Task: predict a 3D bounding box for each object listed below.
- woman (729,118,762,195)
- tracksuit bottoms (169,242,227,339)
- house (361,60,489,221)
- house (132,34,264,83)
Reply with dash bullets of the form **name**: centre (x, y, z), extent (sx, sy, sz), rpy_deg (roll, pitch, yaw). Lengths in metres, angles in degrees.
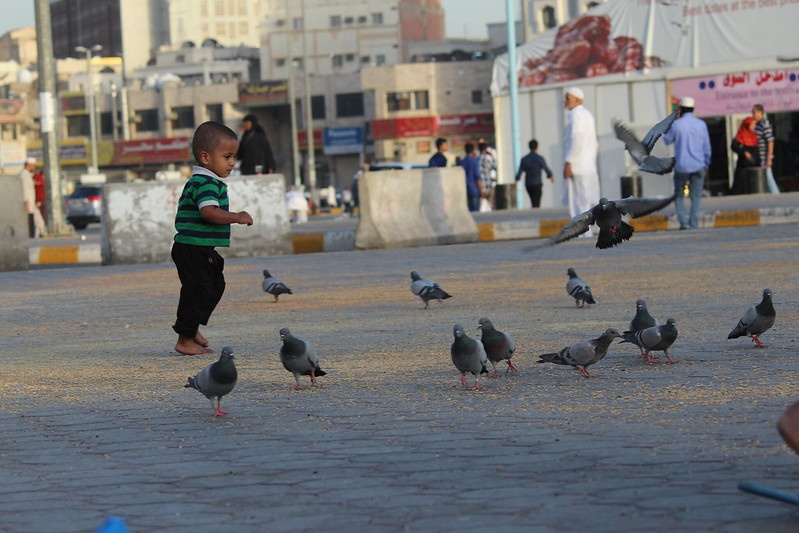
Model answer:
- **woman**: centre (9.928, -2.870, 59.165), extent (1.132, 2.751, 0.904), rpy_deg (-4, -26, 21)
- **tracksuit bottoms**: centre (-4.099, 0.480, 42.030), extent (1.133, 1.951, 0.376), rpy_deg (-6, 5, -6)
- **house**: centre (1.442, -7.156, 100.863), extent (7.783, 4.563, 3.875), rpy_deg (-1, 0, -1)
- **house**: centre (-12.702, -13.467, 131.978), extent (7.497, 2.024, 6.385), rpy_deg (-2, -4, -42)
